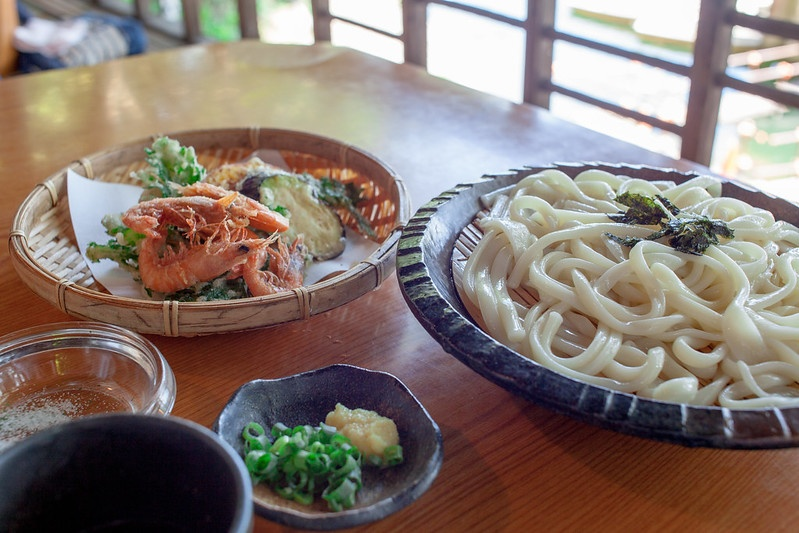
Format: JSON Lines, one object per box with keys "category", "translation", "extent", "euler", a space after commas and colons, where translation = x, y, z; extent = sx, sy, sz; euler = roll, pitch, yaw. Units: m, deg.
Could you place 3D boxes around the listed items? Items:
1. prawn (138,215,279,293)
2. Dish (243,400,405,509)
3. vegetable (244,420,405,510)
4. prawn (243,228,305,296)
{"category": "prawn", "translation": [-0.415, -0.032, 1.243], "extent": [0.298, 0.113, 0.169], "euler": [-9, 46, 12]}
{"category": "Dish", "translation": [-0.110, 0.283, 0.878], "extent": [0.159, 0.055, 0.134], "euler": [-13, 30, -31]}
{"category": "vegetable", "translation": [-0.112, 0.284, 0.864], "extent": [0.172, 0.064, 0.121], "euler": [5, 28, -28]}
{"category": "prawn", "translation": [-0.264, -0.003, 1.236], "extent": [0.103, 0.037, 0.161], "euler": [12, 32, 2]}
